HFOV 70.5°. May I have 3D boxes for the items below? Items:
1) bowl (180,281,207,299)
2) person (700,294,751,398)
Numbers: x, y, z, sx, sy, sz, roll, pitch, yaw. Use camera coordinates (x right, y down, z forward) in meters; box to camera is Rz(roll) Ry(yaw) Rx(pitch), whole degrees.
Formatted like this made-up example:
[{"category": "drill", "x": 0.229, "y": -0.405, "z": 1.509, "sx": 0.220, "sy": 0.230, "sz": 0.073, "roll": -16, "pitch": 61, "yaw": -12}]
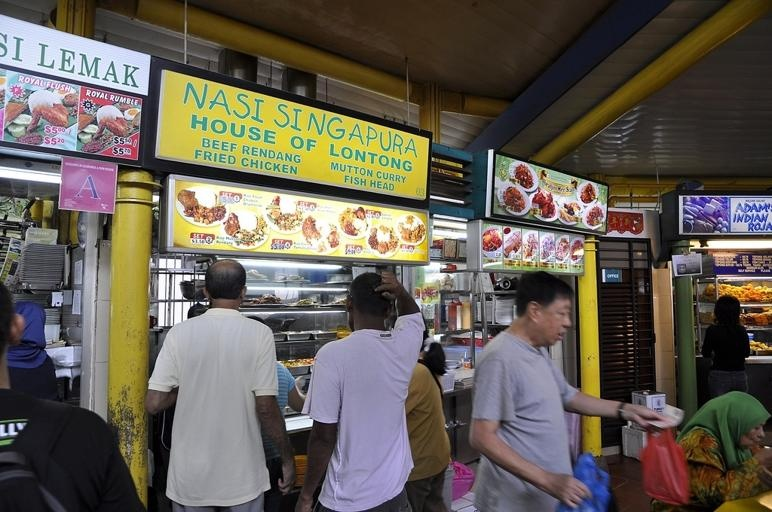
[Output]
[{"category": "bowl", "x": -1.876, "y": 0.335, "z": 5.325, "sx": 0.292, "sy": 0.157, "sz": 0.359, "roll": 6, "pitch": -6, "yaw": -33}, {"category": "person", "x": 4.677, "y": 1.248, "z": 7.538, "sx": 0.535, "sy": 1.414, "sz": 0.327, "roll": 0, "pitch": -5, "yaw": 29}]
